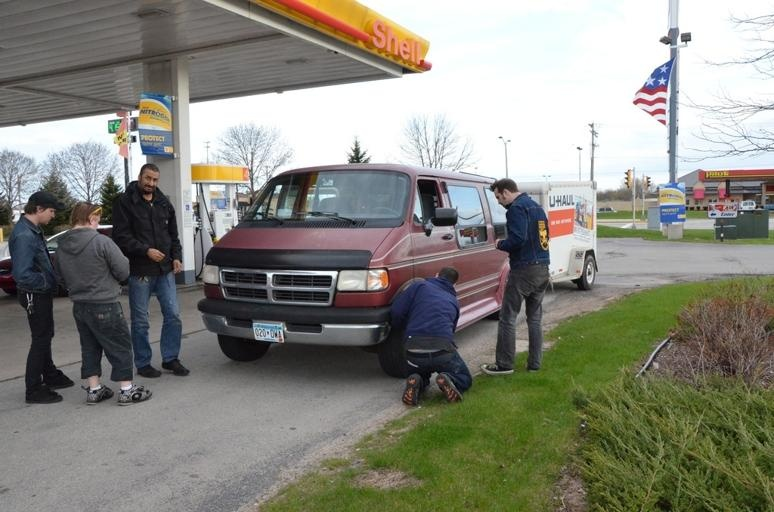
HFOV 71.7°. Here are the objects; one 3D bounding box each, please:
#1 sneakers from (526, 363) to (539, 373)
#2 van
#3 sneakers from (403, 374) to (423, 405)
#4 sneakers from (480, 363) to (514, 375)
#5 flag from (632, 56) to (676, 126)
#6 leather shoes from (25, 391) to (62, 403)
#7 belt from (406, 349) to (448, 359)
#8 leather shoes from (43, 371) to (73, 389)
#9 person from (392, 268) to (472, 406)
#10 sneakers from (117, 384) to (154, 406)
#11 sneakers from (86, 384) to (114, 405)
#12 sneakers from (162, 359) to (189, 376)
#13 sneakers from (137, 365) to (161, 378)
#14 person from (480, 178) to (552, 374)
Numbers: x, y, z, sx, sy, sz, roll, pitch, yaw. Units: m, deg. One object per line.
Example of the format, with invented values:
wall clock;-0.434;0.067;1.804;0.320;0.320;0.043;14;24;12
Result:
sneakers;1.910;1.454;7.004;0.175;0.092;0.171;-1;10;14
van;-0.029;0.032;8.505;2.782;2.030;4.490;-1;-1;27
sneakers;0.300;1.552;6.267;0.158;0.422;0.177;10;23;17
sneakers;1.435;1.486;7.081;0.359;0.149;0.164;3;0;25
flag;12.264;-7.333;24.494;1.385;2.922;2.226;1;10;27
leather shoes;-4.185;1.711;6.513;0.360;0.151;0.173;1;2;-10
belt;0.458;1.150;6.320;0.451;0.097;0.054;-2;9;7
leather shoes;-4.295;1.619;6.997;0.352;0.169;0.152;4;8;-10
person;0.624;0.967;6.830;1.136;1.801;1.139;11;-16;1
sneakers;-3.088;1.682;6.624;0.188;0.227;0.492;3;5;44
sneakers;-3.546;1.686;6.623;0.150;0.154;0.366;2;5;12
sneakers;-2.945;1.553;7.534;0.500;0.212;0.174;6;9;25
sneakers;-3.288;1.570;7.333;0.303;0.124;0.159;-1;4;17
person;1.733;0.246;7.168;0.720;2.518;1.076;4;11;37
